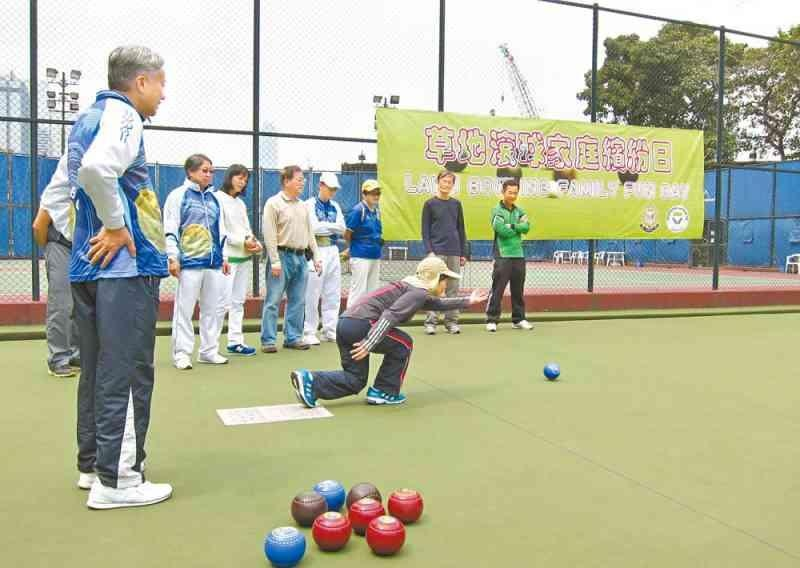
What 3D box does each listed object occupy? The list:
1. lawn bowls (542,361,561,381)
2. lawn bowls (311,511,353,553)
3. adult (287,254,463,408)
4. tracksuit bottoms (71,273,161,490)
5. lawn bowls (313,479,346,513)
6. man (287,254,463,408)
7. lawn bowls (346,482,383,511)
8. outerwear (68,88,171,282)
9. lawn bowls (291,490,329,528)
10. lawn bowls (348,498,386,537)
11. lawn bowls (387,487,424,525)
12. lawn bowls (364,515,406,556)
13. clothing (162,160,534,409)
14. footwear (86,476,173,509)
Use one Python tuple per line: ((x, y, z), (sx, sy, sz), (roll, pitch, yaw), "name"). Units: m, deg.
((1.407, 0.802, 6.965), (0.143, 0.175, 0.142), (1, -5, 0), "lawn bowls")
((-0.364, 1.338, 4.191), (0.187, 0.169, 0.194), (2, -1, 0), "lawn bowls")
((-0.188, 0.375, 6.541), (1.651, 1.378, 0.797), (-4, 5, -40), "adult")
((-1.697, 0.574, 4.523), (0.525, 1.230, 0.358), (-1, 8, -9), "tracksuit bottoms")
((-0.397, 1.229, 4.453), (0.157, 0.165, 0.162), (2, 3, 0), "lawn bowls")
((-0.092, 0.382, 6.367), (1.651, 1.378, 0.797), (-4, 5, -40), "man")
((-0.214, 1.216, 4.443), (0.150, 0.125, 0.153), (2, 4, 0), "lawn bowls")
((-1.664, -0.561, 4.461), (0.535, 1.113, 0.388), (-3, 9, -26), "outerwear")
((-0.517, 1.257, 4.341), (0.175, 0.144, 0.177), (1, 6, 0), "lawn bowls")
((-0.182, 1.293, 4.305), (0.184, 0.143, 0.181), (3, 0, 0), "lawn bowls")
((0.038, 1.246, 4.346), (0.172, 0.164, 0.177), (3, -2, 0), "lawn bowls")
((-0.069, 1.343, 4.147), (0.188, 0.168, 0.186), (3, -2, 0), "lawn bowls")
((-0.551, 0.000, 8.286), (3.403, 2.950, 2.193), (-3, 8, -33), "clothing")
((-1.602, 1.248, 4.590), (0.515, 0.244, 0.188), (0, 2, -21), "footwear")
